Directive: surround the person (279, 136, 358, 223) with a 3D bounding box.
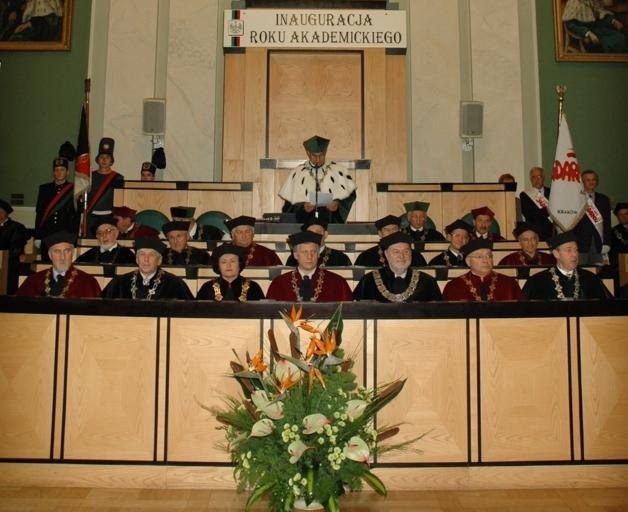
[{"bbox_3d":[0.048,-0.972,13.123,1.053,1.490,0.921,-3,13,0],"label":"person"}]

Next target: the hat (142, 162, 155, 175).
[{"bbox_3d":[-2.653,-1.383,14.623,0.181,0.177,0.230,3,-33,1],"label":"hat"}]

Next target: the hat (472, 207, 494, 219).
[{"bbox_3d":[2.412,-0.624,13.196,0.186,0.078,0.193,11,-5,-7],"label":"hat"}]

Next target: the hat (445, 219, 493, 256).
[{"bbox_3d":[1.899,-0.231,11.880,0.467,0.370,0.532,-4,5,-14],"label":"hat"}]

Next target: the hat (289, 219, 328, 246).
[{"bbox_3d":[-0.045,-0.267,10.895,0.332,0.143,0.351,-2,-21,-1],"label":"hat"}]

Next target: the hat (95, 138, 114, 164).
[{"bbox_3d":[-3.364,-1.712,14.867,0.394,0.437,0.372,5,3,-1],"label":"hat"}]

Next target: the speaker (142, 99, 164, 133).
[{"bbox_3d":[-2.863,-2.503,16.211,0.447,0.692,0.393,-7,31,-25],"label":"speaker"}]

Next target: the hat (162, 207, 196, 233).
[{"bbox_3d":[-1.941,-0.540,13.135,0.370,0.453,0.360,1,7,-1],"label":"hat"}]

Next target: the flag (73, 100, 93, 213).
[{"bbox_3d":[-3.311,-1.466,13.127,0.207,1.449,0.573,2,-1,-15],"label":"flag"}]

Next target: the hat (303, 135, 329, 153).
[{"bbox_3d":[0.008,-1.540,12.655,0.329,0.224,0.292,2,0,-3],"label":"hat"}]

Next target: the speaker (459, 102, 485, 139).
[{"bbox_3d":[2.755,-2.396,16.125,0.376,0.512,0.235,2,0,-2],"label":"speaker"}]

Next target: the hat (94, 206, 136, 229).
[{"bbox_3d":[-2.784,-0.553,13.104,0.370,0.211,0.291,-5,3,-25],"label":"hat"}]

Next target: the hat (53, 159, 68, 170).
[{"bbox_3d":[-4.035,-1.469,14.584,0.204,0.166,0.286,2,0,-20],"label":"hat"}]

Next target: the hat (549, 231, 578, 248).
[{"bbox_3d":[2.787,-0.172,10.340,0.221,0.134,0.184,-21,-5,28],"label":"hat"}]

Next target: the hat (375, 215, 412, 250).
[{"bbox_3d":[0.908,-0.277,11.420,0.360,0.429,0.418,-11,-16,-6],"label":"hat"}]
